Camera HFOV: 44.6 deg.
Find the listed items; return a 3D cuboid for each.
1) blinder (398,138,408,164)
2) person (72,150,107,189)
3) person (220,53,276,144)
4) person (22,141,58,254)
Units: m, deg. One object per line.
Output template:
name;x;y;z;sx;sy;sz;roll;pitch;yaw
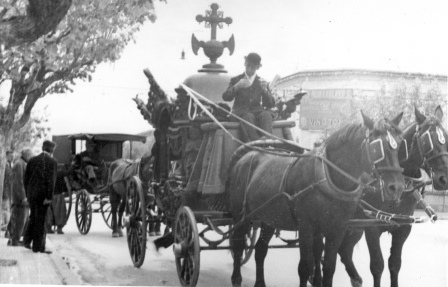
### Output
blinder;2.451;0.109;7.500;0.112;0.293;0.229;15;-12;-17
person;-3.350;0.660;13.471;0.622;0.986;0.595;12;-39;-45
person;0.478;-0.598;8.914;0.871;1.728;0.961;0;-1;-22
person;-3.290;0.970;9.782;0.564;2.030;0.379;-1;5;-18
